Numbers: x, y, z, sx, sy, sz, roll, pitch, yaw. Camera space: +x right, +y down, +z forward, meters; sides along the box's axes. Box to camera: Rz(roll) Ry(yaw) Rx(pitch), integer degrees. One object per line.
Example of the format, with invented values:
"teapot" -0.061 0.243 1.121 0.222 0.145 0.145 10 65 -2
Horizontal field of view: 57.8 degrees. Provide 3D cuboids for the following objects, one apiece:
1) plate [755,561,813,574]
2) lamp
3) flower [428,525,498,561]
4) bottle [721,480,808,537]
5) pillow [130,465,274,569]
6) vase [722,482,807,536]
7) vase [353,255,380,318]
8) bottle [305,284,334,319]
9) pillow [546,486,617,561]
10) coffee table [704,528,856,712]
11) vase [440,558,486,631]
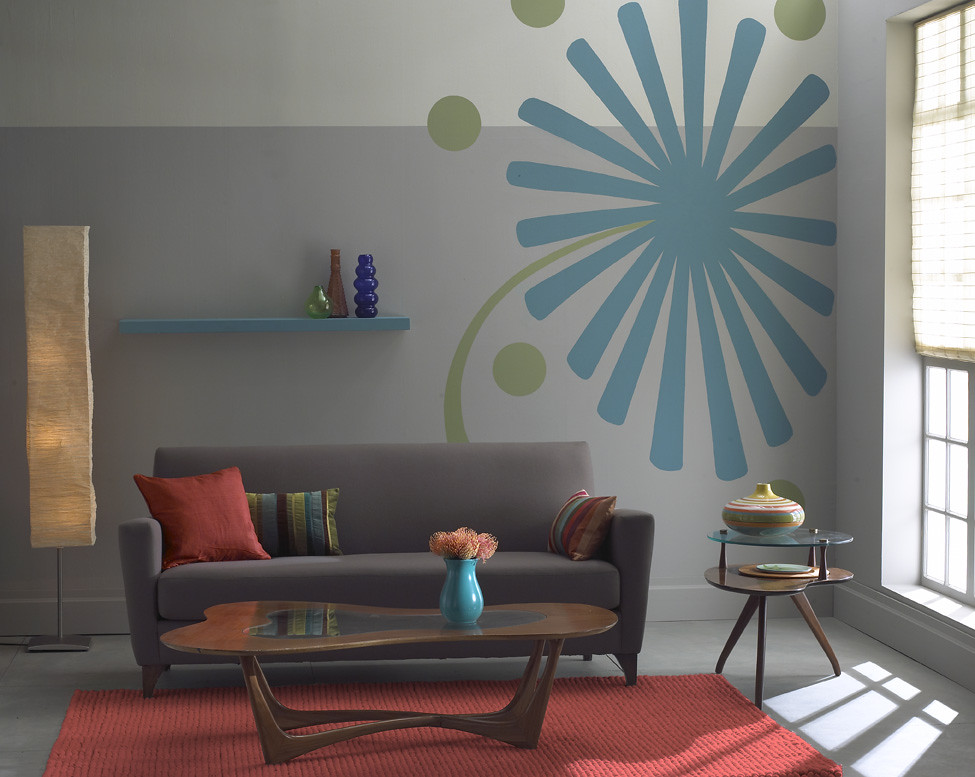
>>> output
"plate" 1.393 0.833 4.082 0.250 0.025 0.138 1 4 10
"lamp" -2.179 -0.013 4.474 0.300 1.598 0.171 -2 4 -21
"flower" -0.078 0.616 3.460 0.157 0.137 0.251 4 5 45
"bottle" 1.355 0.594 4.323 0.373 0.279 0.474 0 -6 -1
"pillow" -1.359 0.606 4.194 0.568 0.392 0.284 -2 4 -25
"vase" 1.318 0.575 4.187 0.315 0.226 0.235 -1 4 -18
"vase" -0.666 -0.556 4.853 0.125 0.343 0.180 -1 4 -10
"bottle" -0.909 -0.467 4.779 0.140 0.219 0.156 -1 1 -17
"pillow" 0.450 0.648 4.411 0.171 0.330 0.470 13 -2 -13
"coffee table" 1.385 1.028 4.174 0.611 0.748 0.566 0 3 7
"vase" -0.088 0.760 3.329 0.174 0.231 0.203 0 4 -6
